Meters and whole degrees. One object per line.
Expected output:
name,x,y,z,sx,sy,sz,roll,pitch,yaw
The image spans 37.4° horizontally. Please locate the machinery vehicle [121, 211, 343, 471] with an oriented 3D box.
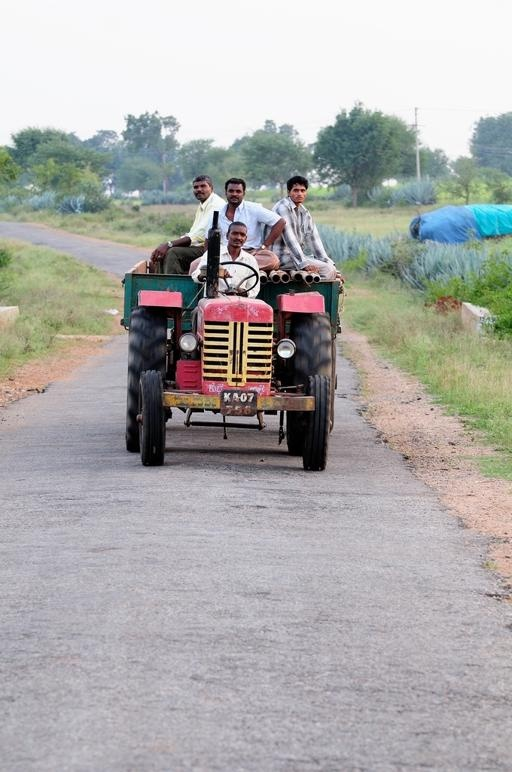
machinery vehicle,-0.183,-0.415,7.758,2.313,1.917,3.151,1,11,-10
